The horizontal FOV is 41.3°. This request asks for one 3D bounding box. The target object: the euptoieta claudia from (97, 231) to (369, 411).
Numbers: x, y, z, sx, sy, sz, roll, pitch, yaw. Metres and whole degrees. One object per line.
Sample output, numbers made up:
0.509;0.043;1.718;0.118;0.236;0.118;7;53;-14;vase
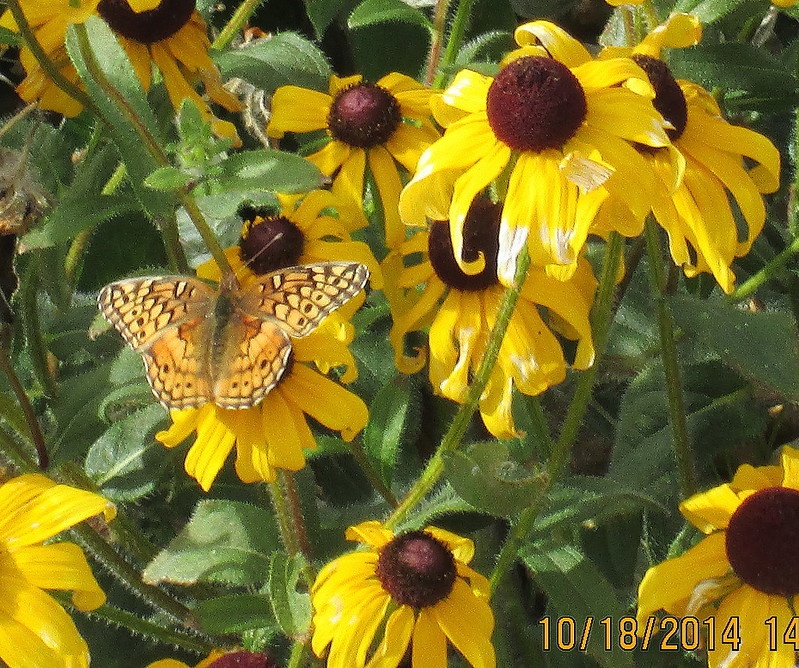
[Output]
-0.181;-0.046;1.172;0.246;0.183;0.057;3;9;5;euptoieta claudia
